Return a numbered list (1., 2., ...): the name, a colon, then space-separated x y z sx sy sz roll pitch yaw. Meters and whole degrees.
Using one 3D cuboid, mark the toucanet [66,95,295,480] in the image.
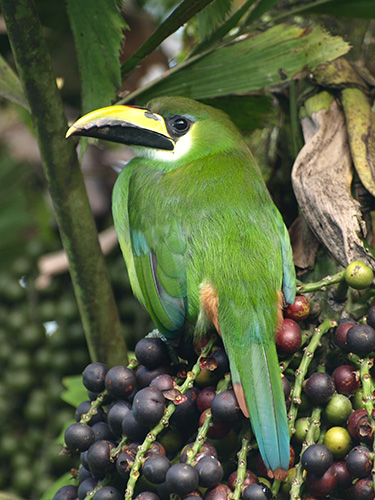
1. toucanet: 0.078 0.003 1.435 0.402 0.656 0.807 -8 23 -23
